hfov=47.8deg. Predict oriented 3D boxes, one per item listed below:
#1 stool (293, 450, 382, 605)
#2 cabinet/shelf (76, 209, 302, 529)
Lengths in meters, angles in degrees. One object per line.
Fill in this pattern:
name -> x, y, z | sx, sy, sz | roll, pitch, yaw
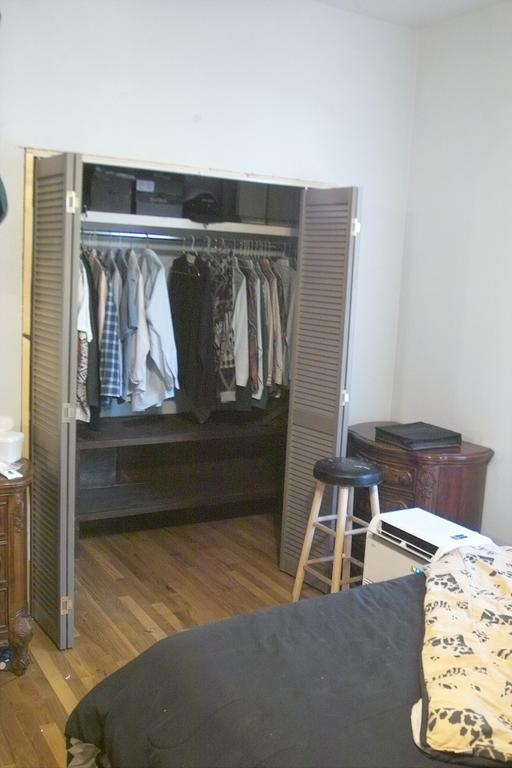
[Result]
stool -> 0.316, 0.686, 2.539 | 0.318, 0.633, 0.339 | 4, 10, -11
cabinet/shelf -> -0.396, -0.137, 3.192 | 1.513, 1.700, 0.506 | -2, 7, -35
